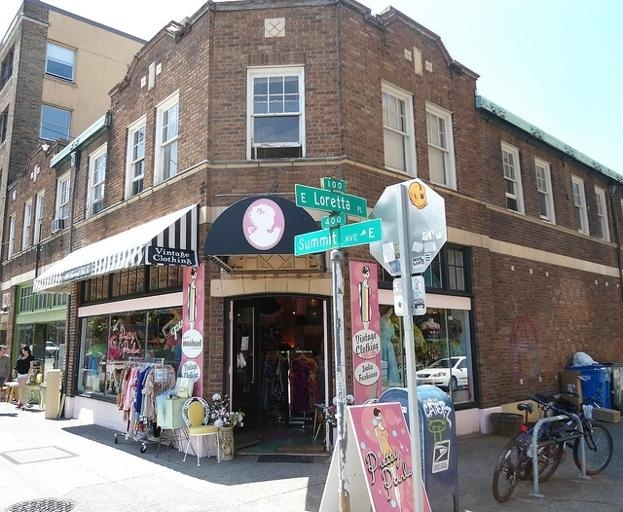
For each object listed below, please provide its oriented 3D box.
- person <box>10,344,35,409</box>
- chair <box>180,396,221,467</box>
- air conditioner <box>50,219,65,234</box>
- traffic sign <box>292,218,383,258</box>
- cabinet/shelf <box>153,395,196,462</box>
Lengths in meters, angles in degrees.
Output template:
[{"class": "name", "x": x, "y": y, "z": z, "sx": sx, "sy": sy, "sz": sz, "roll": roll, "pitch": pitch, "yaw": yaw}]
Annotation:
[{"class": "person", "x": -9.636, "y": 4.068, "z": 16.885, "sx": 0.507, "sy": 2.056, "sz": 0.766, "roll": 5, "pitch": -8, "yaw": -42}, {"class": "chair", "x": -2.196, "y": 3.516, "z": 10.101, "sx": 0.748, "sy": 1.660, "sz": 0.845, "roll": 7, "pitch": -21, "yaw": -31}, {"class": "air conditioner", "x": -8.567, "y": -0.985, "z": 17.012, "sx": 0.207, "sy": 0.396, "sz": 0.400, "roll": 11, "pitch": -21, "yaw": -37}, {"class": "traffic sign", "x": 0.338, "y": -0.243, "z": 6.517, "sx": 1.378, "sy": 0.337, "sz": 0.192, "roll": -7, "pitch": -9, "yaw": 44}, {"class": "cabinet/shelf", "x": -2.855, "y": 3.572, "z": 10.478, "sx": 0.505, "sy": 1.152, "sz": 0.578, "roll": -5, "pitch": -9, "yaw": 28}]
